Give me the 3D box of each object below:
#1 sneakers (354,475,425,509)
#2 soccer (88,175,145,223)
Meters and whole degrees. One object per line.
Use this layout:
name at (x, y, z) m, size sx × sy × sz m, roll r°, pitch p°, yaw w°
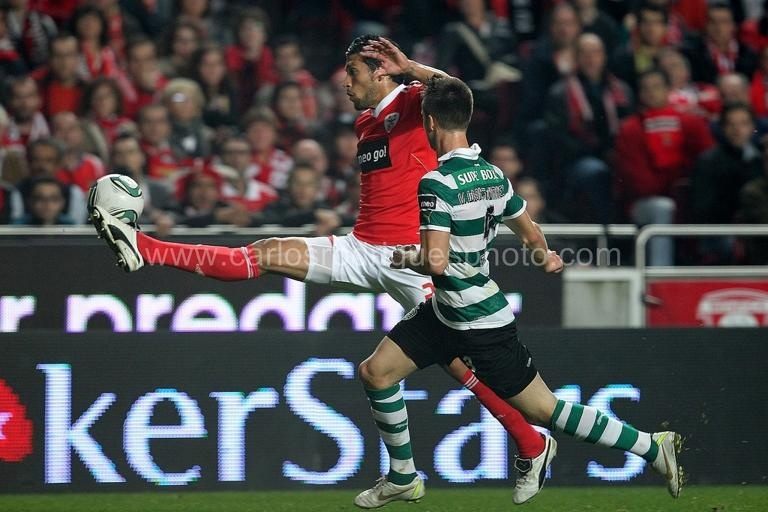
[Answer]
sneakers at (0.040, 1.889, 11.738) m, size 0.607 × 0.276 × 0.224 m, roll -2°, pitch -7°, yaw -5°
soccer at (-2.136, -0.477, 11.851) m, size 0.472 × 0.440 × 0.375 m, roll 9°, pitch 15°, yaw 0°
